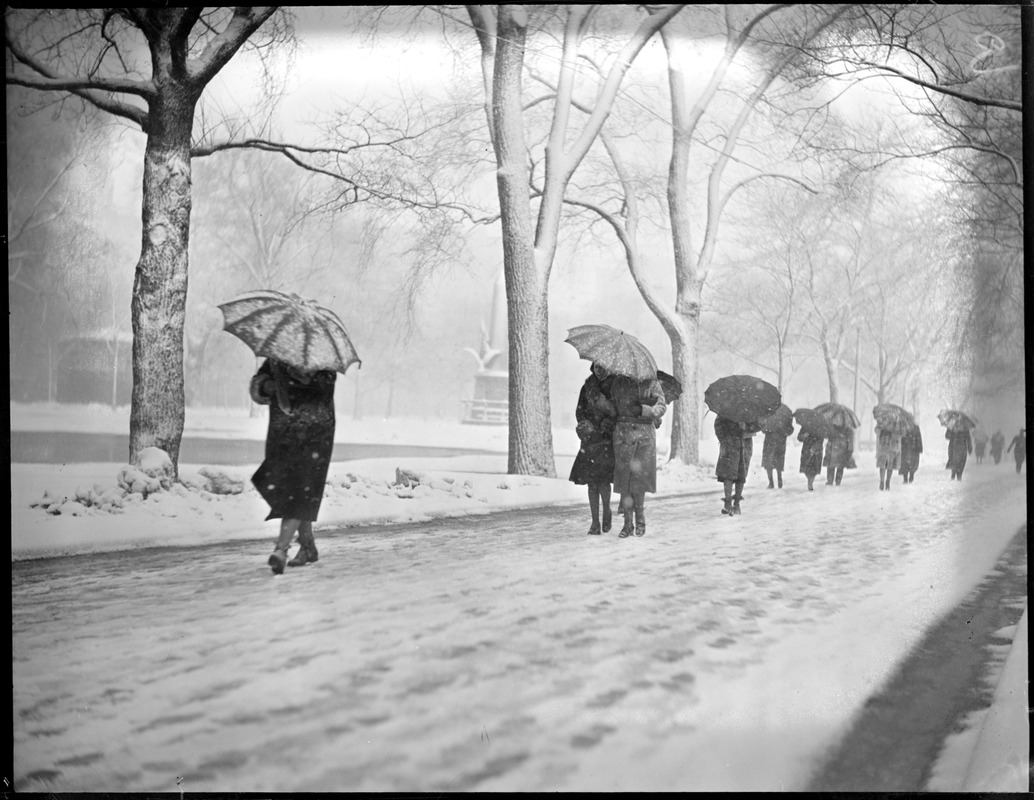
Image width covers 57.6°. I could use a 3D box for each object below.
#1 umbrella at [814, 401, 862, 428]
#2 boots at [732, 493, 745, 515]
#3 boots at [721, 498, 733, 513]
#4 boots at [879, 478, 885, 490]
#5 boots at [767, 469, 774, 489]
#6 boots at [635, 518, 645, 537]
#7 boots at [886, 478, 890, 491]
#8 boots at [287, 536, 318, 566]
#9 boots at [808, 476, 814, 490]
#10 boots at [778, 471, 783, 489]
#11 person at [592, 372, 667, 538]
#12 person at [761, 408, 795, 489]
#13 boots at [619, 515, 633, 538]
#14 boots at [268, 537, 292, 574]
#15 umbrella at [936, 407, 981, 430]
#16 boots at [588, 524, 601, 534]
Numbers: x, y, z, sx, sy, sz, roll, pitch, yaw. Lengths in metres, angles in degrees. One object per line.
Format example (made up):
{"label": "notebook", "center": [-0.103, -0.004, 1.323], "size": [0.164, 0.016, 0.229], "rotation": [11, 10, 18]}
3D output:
{"label": "umbrella", "center": [3.110, 0.151, 9.073], "size": [0.270, 0.147, 0.287], "rotation": [11, 20, -31]}
{"label": "boots", "center": [2.024, 0.978, 8.677], "size": [0.123, 0.246, 0.124], "rotation": [1, -3, -21]}
{"label": "boots", "center": [1.924, 0.978, 8.639], "size": [0.106, 0.198, 0.088], "rotation": [-1, -2, 40]}
{"label": "boots", "center": [3.504, 0.806, 9.035], "size": [0.046, 0.095, 0.057], "rotation": [0, 0, 23]}
{"label": "boots", "center": [2.433, 0.758, 9.060], "size": [0.067, 0.170, 0.112], "rotation": [0, 0, 16]}
{"label": "boots", "center": [1.067, 1.106, 8.151], "size": [0.124, 0.143, 0.095], "rotation": [1, 0, -16]}
{"label": "boots", "center": [3.542, 0.817, 8.996], "size": [0.036, 0.086, 0.072], "rotation": [0, -1, 22]}
{"label": "boots", "center": [-1.705, 1.232, 7.524], "size": [0.250, 0.234, 0.127], "rotation": [1, -6, -26]}
{"label": "boots", "center": [2.780, 0.800, 8.928], "size": [0.069, 0.117, 0.140], "rotation": [0, -1, 21]}
{"label": "boots", "center": [2.536, 0.772, 9.086], "size": [0.043, 0.171, 0.061], "rotation": [1, -10, 4]}
{"label": "person", "center": [1.041, 0.484, 8.283], "size": [0.490, 1.396, 0.338], "rotation": [1, 0, -28]}
{"label": "person", "center": [2.503, 0.445, 9.068], "size": [0.289, 0.798, 0.141], "rotation": [1, 0, -24]}
{"label": "boots", "center": [0.951, 1.067, 8.113], "size": [0.198, 0.224, 0.089], "rotation": [1, -1, -42]}
{"label": "boots", "center": [-1.839, 1.245, 7.413], "size": [0.096, 0.322, 0.221], "rotation": [11, 38, 9]}
{"label": "umbrella", "center": [4.165, 0.180, 8.903], "size": [0.332, 0.190, 0.089], "rotation": [0, 0, 28]}
{"label": "boots", "center": [0.670, 1.128, 8.182], "size": [0.079, 0.097, 0.063], "rotation": [1, -5, 8]}
